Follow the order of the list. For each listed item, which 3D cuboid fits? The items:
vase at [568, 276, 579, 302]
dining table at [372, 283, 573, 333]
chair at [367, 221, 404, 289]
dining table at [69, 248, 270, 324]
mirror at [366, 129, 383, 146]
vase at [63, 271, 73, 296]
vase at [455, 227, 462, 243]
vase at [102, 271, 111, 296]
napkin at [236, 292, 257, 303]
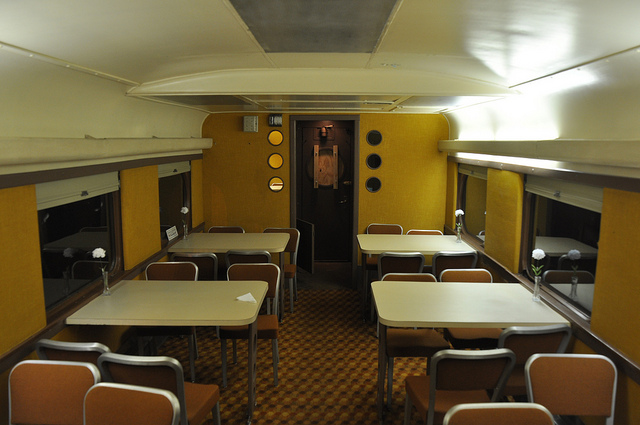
[{"bbox_3d":[2.993,0.875,5.417,0.111,0.255,0.315,7,12,29],"label":"vase"},{"bbox_3d":[1.648,1.073,5.389,2.019,0.338,1.098,1,10,-1],"label":"dining table"},{"bbox_3d":[1.165,0.881,8.368,0.784,1.277,0.861,1,7,24],"label":"chair"},{"bbox_3d":[-1.696,0.900,5.403,2.057,0.418,1.146,2,10,2],"label":"dining table"},{"bbox_3d":[1.073,-1.471,9.065,0.314,0.304,0.065,0,11,-9],"label":"mirror"},{"bbox_3d":[-2.991,0.798,5.458,0.099,0.252,0.403,-5,11,-29],"label":"vase"},{"bbox_3d":[2.360,0.353,7.821,0.111,0.245,0.327,4,10,16],"label":"vase"},{"bbox_3d":[-2.533,0.830,5.475,0.083,0.285,0.133,-4,12,-25],"label":"vase"},{"bbox_3d":[-0.840,0.994,5.329,0.200,0.031,0.273,-4,11,-31],"label":"napkin"}]
